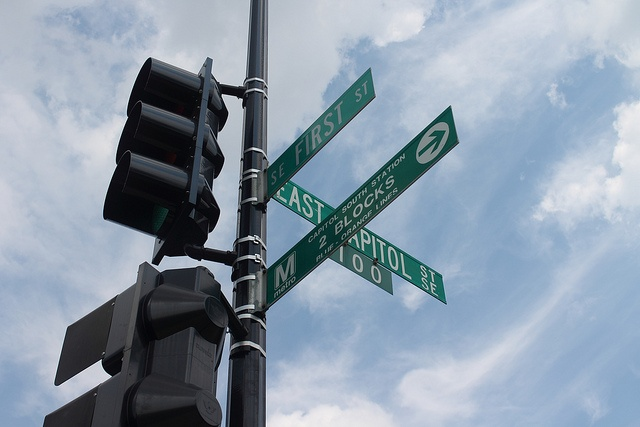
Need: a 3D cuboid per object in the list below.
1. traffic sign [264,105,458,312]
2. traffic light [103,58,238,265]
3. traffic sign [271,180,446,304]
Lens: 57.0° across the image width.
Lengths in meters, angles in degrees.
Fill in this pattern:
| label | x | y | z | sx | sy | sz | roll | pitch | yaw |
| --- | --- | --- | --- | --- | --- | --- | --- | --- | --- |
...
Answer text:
| label | x | y | z | sx | sy | sz | roll | pitch | yaw |
| --- | --- | --- | --- | --- | --- | --- | --- | --- | --- |
| traffic sign | 0.390 | -0.072 | 5.909 | 1.984 | 2.021 | 0.246 | -14 | -41 | 31 |
| traffic light | -1.212 | -0.544 | 4.986 | 0.831 | 1.784 | 0.680 | 13 | -42 | -19 |
| traffic sign | 0.326 | 0.306 | 6.298 | 2.340 | 0.183 | 0.619 | 34 | -32 | -5 |
